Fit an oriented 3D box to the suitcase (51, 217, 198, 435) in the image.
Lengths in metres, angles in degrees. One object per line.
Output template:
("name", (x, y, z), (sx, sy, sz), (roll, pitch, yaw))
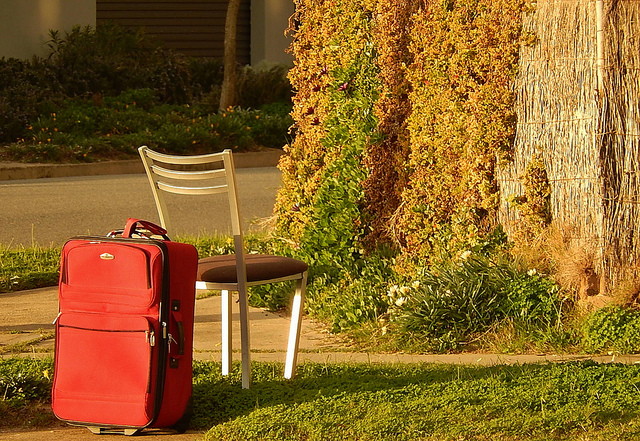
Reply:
("suitcase", (-1.458, 0.838, 8.131), (1.012, 1.439, 0.516), (0, 13, 10))
